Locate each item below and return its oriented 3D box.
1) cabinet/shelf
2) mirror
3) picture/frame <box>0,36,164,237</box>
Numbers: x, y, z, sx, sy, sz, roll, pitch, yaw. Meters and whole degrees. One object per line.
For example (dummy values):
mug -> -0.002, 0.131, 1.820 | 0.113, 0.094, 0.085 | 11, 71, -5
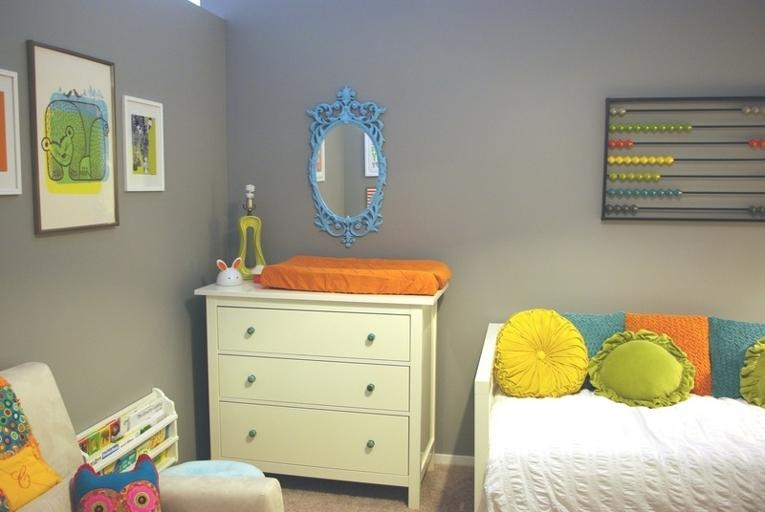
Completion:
cabinet/shelf -> -0.248, 0.790, 3.796 | 1.982, 1.744, 1.214 | 0, 0, 10
mirror -> -0.240, -0.595, 3.711 | 0.598, 1.110, 0.025 | 2, 10, 12
picture/frame -> -1.499, -0.582, 2.851 | 0.074, 0.906, 0.743 | 5, 7, 26
